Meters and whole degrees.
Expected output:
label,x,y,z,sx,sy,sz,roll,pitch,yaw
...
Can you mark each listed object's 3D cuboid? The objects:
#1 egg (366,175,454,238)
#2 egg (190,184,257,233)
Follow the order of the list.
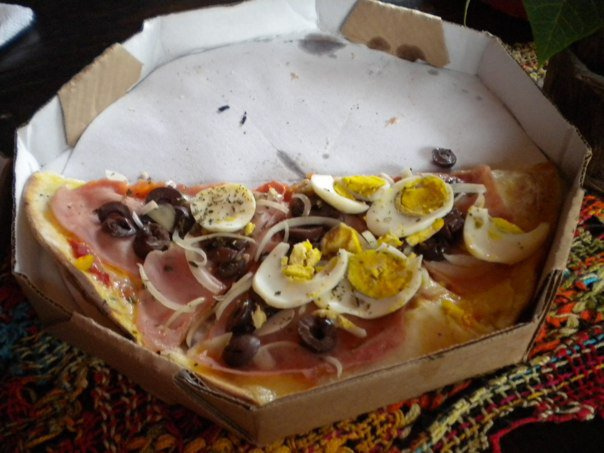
label,x,y,z,sx,sy,sz,roll,pitch,yaw
egg,0.474,-0.050,2.260,0.197,0.070,0.312,9,53,21
egg,-0.289,-0.074,2.298,0.211,0.245,0.079,40,40,-23
